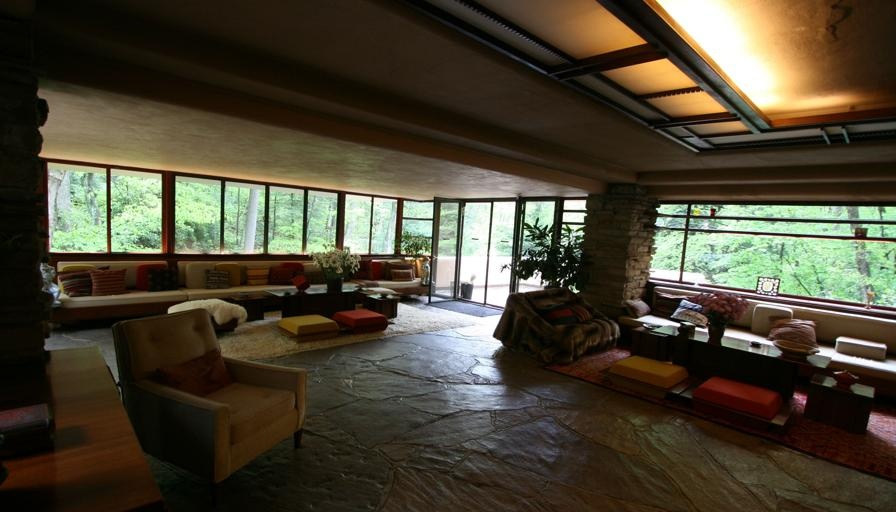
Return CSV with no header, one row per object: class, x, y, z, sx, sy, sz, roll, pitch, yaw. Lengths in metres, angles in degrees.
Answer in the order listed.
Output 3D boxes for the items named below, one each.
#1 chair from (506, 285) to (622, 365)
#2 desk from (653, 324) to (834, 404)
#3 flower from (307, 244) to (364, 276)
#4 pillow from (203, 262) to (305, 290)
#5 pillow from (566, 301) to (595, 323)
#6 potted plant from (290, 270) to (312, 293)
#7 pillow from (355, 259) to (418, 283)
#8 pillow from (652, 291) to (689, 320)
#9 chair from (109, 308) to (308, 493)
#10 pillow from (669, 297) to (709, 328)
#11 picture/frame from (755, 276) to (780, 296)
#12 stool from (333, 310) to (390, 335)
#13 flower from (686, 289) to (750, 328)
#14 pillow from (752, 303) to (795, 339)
chair,1.847,1.160,7.752,1.854,0.611,1.419,-4,7,-36
desk,4.155,1.383,6.861,2.578,0.687,0.852,12,35,44
flower,-2.289,0.042,9.112,1.004,0.432,0.921,6,8,-38
pillow,-4.045,0.400,9.767,2.178,0.465,0.645,2,-4,-29
pillow,2.266,0.971,8.018,0.412,0.084,0.330,-2,39,-31
potted plant,-2.890,0.514,9.147,0.386,0.293,0.419,-26,9,-21
pillow,-1.565,0.354,11.536,1.396,0.455,0.664,3,7,-9
pillow,4.073,0.918,8.528,0.228,0.333,0.613,17,-9,-38
chair,-2.716,1.313,5.417,2.423,1.672,1.673,3,7,27
pillow,3.953,0.967,7.571,0.621,0.156,0.565,25,46,35
picture/frame,5.867,0.573,8.549,0.121,0.315,0.384,8,6,-27
stool,-1.479,1.148,8.210,0.631,0.155,0.540,1,5,-22
flower,4.102,0.726,6.842,0.747,0.353,0.704,-1,8,-41
pillow,5.347,1.100,7.684,0.214,0.406,0.574,8,6,-32
